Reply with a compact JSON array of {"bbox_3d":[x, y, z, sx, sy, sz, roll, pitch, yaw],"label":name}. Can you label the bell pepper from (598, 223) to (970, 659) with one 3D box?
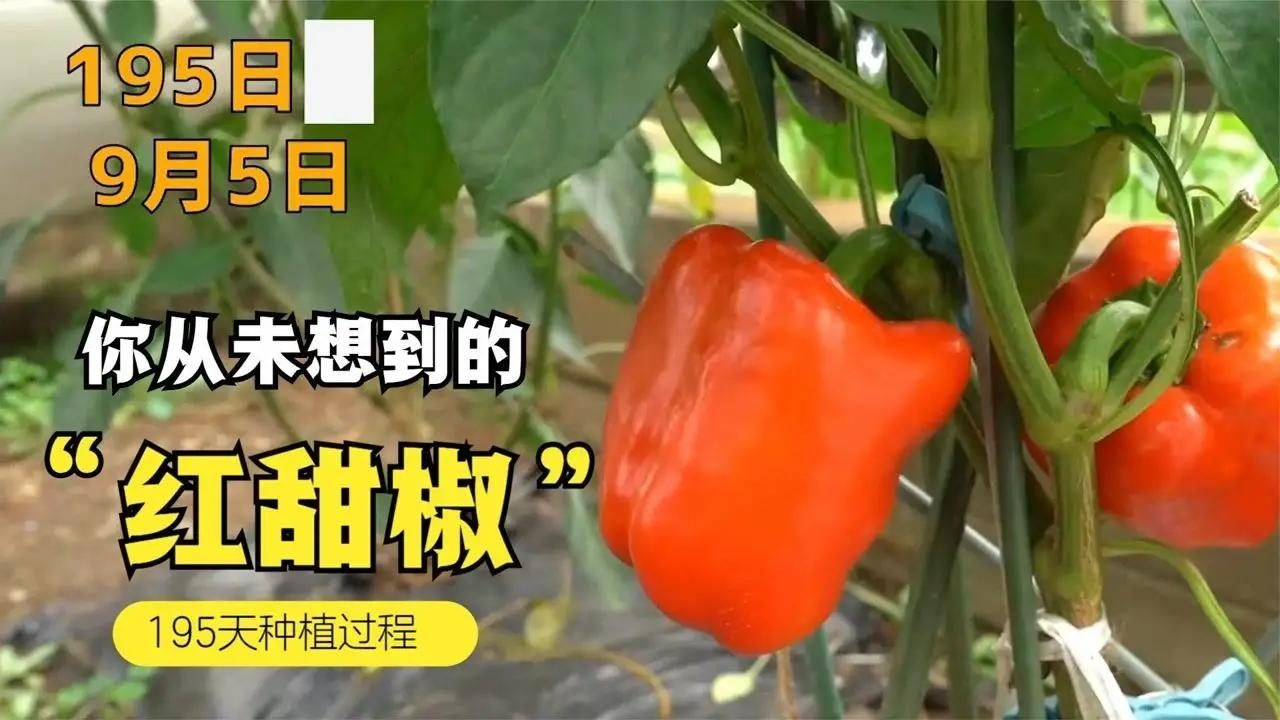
[{"bbox_3d":[0.063,0.037,0.498,0.164,0.177,0.078,-1,18,15],"label":"bell pepper"}]
